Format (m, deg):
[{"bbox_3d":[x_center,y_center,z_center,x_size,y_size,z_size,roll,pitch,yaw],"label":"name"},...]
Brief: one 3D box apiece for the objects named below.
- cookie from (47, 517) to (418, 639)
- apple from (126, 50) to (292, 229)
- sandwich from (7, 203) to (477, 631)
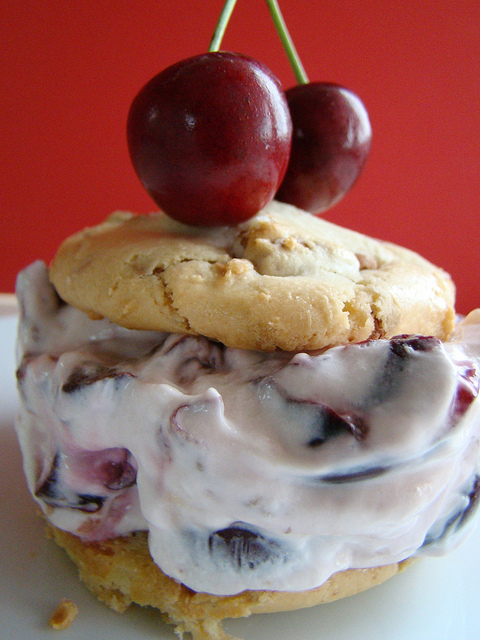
[{"bbox_3d":[-0.029,0.218,0.648,0.156,0.038,0.138,3,7,-10],"label":"cookie"},{"bbox_3d":[-0.017,-0.154,0.687,0.146,0.135,0.142,-19,22,-41],"label":"apple"},{"bbox_3d":[-0.026,0.066,0.750,0.443,0.230,0.383,4,12,-8],"label":"sandwich"}]
